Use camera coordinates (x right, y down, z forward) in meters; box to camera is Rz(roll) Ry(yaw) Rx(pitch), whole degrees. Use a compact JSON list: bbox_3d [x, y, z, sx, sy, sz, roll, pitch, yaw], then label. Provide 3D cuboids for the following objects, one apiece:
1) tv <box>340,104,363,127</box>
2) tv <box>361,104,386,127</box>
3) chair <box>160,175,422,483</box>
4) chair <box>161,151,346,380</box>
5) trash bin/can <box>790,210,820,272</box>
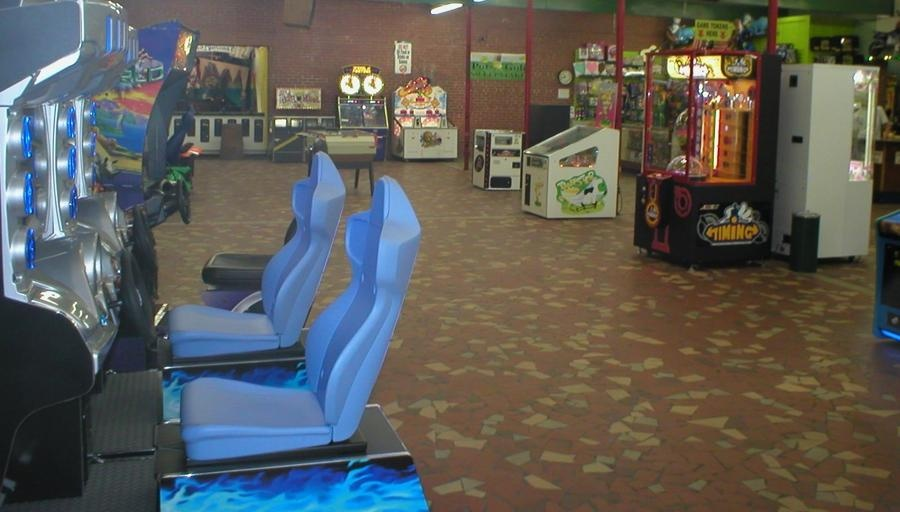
[{"bbox_3d":[-2.580,-3.569,17.113,0.619,0.585,0.346,3,-14,-12],"label":"tv"},{"bbox_3d":[-1.990,-3.627,17.454,0.814,0.728,0.564,-1,10,-11],"label":"tv"},{"bbox_3d":[-0.867,0.333,3.690,1.330,1.354,0.938,-2,6,-21],"label":"chair"},{"bbox_3d":[-1.363,-0.013,4.600,1.206,1.310,0.940,-3,9,-22],"label":"chair"},{"bbox_3d":[4.064,-0.161,7.688,0.285,0.672,0.233,4,11,24],"label":"trash bin/can"}]
